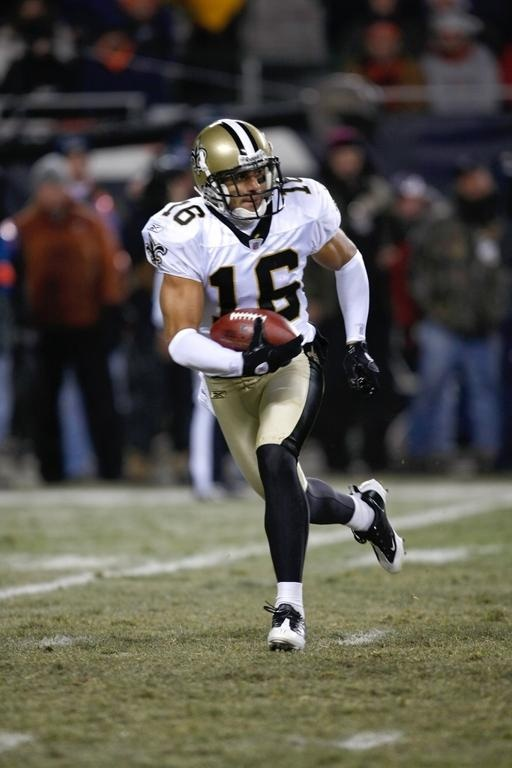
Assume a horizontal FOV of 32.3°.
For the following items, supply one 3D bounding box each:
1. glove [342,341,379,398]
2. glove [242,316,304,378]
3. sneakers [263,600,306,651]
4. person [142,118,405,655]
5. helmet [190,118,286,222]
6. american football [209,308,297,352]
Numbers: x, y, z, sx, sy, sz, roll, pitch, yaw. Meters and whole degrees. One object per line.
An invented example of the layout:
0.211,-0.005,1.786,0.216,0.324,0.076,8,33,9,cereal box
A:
0.334,-0.052,2.592,0.062,0.102,0.153,-13,55,-30,glove
0.033,-0.098,2.261,0.136,0.090,0.170,-1,-6,-20,glove
0.069,0.585,2.136,0.107,0.084,0.201,0,-10,7,sneakers
0.053,-0.050,2.514,0.509,1.405,0.765,-2,-5,26,person
-0.067,-0.614,2.485,0.228,0.256,0.308,-29,41,-36,helmet
-0.011,-0.142,2.266,0.207,0.103,0.108,-1,3,-7,american football
